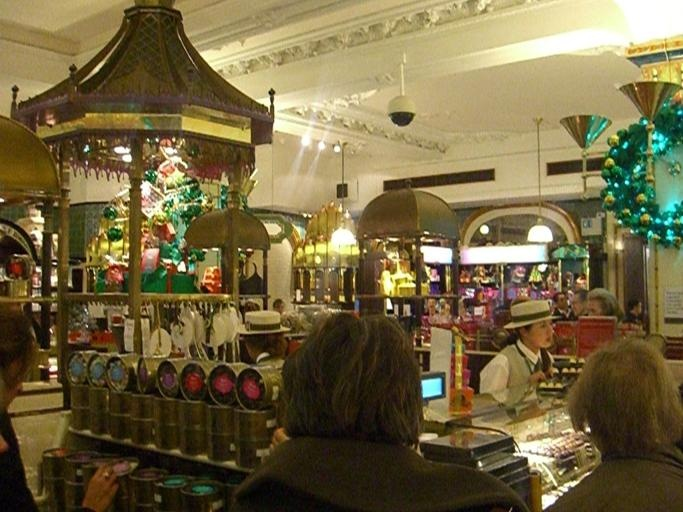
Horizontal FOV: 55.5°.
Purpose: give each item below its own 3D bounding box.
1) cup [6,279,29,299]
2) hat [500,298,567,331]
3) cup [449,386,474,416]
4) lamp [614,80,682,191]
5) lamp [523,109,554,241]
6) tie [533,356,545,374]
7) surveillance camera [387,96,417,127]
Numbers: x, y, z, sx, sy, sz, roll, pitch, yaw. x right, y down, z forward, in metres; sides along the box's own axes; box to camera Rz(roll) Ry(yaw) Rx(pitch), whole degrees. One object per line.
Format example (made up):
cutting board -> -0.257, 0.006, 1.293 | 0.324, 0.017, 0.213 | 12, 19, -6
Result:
cup -> -1.900, 0.186, 3.799 | 0.128, 0.149, 0.100 | 1, -1, 14
hat -> 1.464, 0.443, 5.058 | 0.268, 0.113, 0.257 | -18, -1, 24
cup -> 0.758, 0.900, 4.075 | 0.132, 0.157, 0.140 | -1, -5, 0
lamp -> 2.828, -1.129, 5.846 | 0.708, 1.070, 0.445 | 3, -4, -25
lamp -> 3.864, -1.339, 12.534 | 0.436, 2.192, 2.226 | 0, -4, 17
tie -> 1.566, 0.856, 5.147 | 0.089, 0.143, 0.031 | 15, -24, -42
surveillance camera -> 0.688, -1.611, 7.436 | 0.283, 0.477, 0.315 | -1, -8, 2
